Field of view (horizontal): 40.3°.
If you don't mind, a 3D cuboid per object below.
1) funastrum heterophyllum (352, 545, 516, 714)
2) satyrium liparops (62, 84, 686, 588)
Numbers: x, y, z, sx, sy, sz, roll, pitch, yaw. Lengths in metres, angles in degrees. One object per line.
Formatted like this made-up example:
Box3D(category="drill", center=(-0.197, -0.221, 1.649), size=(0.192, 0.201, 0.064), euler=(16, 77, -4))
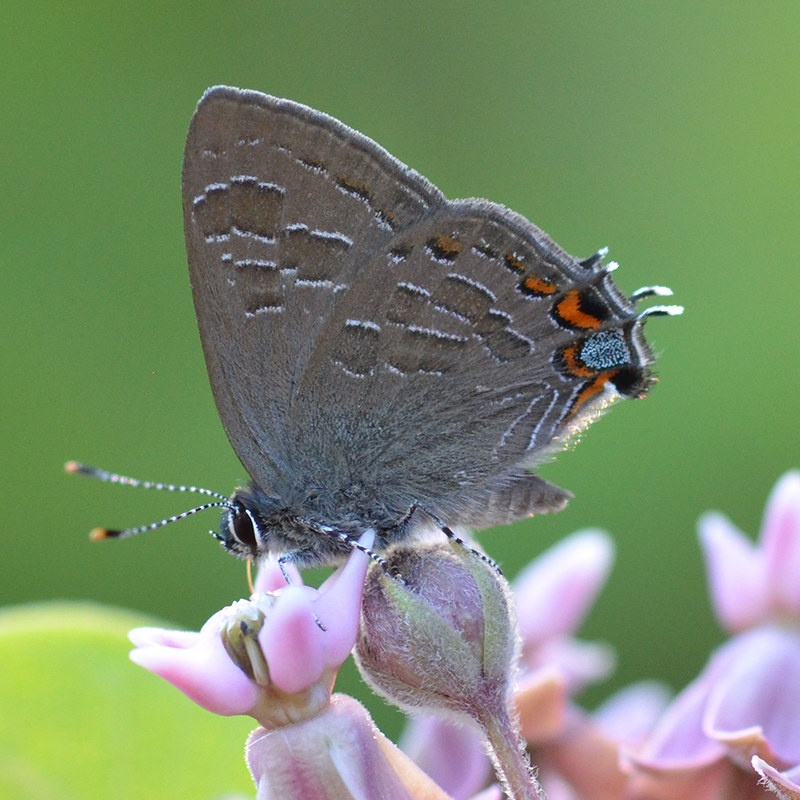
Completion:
Box3D(category="funastrum heterophyllum", center=(0.057, 0.333, 1.667), size=(0.192, 0.263, 0.224), euler=(-6, -69, -73))
Box3D(category="satyrium liparops", center=(-0.056, -0.123, 2.159), size=(0.814, 0.468, 1.008), euler=(-2, -72, -11))
